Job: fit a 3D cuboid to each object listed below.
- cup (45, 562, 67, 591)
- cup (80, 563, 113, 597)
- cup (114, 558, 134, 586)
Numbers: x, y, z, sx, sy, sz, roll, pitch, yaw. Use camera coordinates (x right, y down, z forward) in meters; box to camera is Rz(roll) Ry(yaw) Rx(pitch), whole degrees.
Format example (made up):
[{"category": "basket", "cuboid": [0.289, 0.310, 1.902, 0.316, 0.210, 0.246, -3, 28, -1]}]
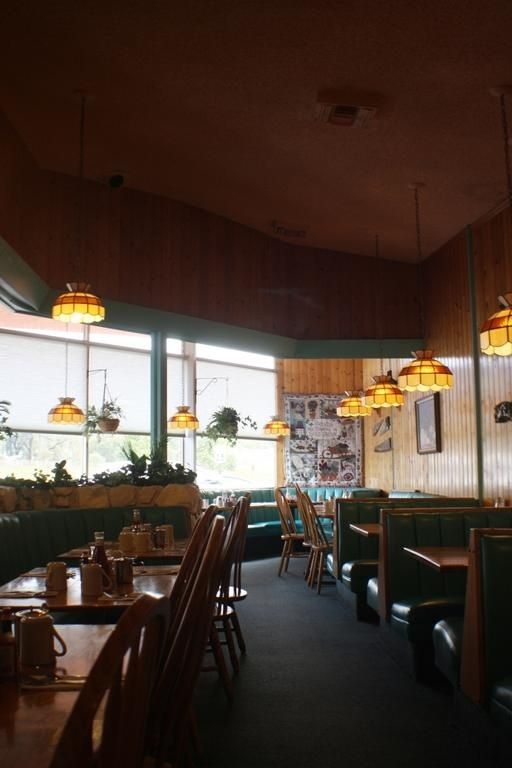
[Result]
[{"category": "cup", "cuboid": [-0.733, 0.709, 2.283, 0.062, 0.098, 0.101, 0, -8, 1]}, {"category": "cup", "cuboid": [-0.558, 0.686, 2.175, 0.106, 0.102, 0.225, -1, -4, -16]}, {"category": "cup", "cuboid": [-0.509, 0.718, 2.379, 0.062, 0.102, 0.102, 0, -10, -5]}]
